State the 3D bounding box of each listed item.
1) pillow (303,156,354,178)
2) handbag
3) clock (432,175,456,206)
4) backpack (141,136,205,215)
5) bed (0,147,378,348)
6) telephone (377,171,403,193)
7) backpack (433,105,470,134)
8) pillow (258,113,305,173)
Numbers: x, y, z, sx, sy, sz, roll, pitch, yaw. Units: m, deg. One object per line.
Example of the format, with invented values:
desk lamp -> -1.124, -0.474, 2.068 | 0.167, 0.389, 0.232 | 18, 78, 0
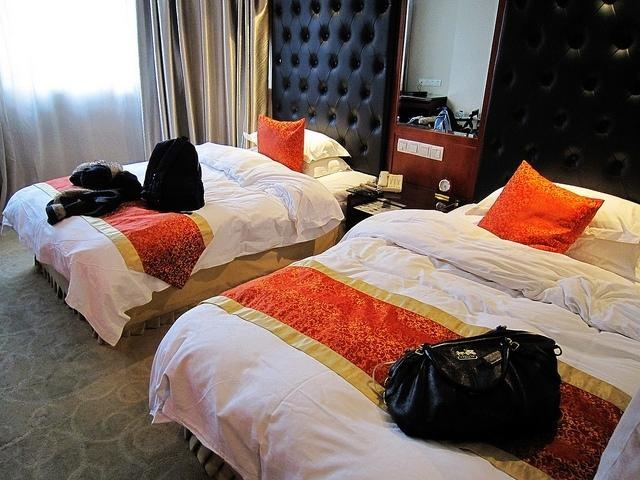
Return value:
pillow -> 0.064, -0.607, 3.652 | 0.264, 0.083, 0.189 | -15, 32, -24
handbag -> 0.542, 0.510, 1.496 | 0.585, 0.357, 0.322 | -2, 21, 8
clock -> 0.914, -0.361, 3.213 | 0.132, 0.296, 0.148 | -15, 24, -41
backpack -> -0.955, -0.427, 2.885 | 0.443, 0.406, 0.356 | 17, 31, 24
bed -> -0.771, -0.120, 2.913 | 1.636, 0.534, 1.484 | -21, 36, -35
telephone -> 0.540, -0.439, 3.372 | 0.157, 0.170, 0.103 | 4, 7, 11
backpack -> 0.924, -0.847, 3.098 | 0.209, 0.218, 0.157 | -1, 23, 6
pillow -> -0.308, -0.764, 3.569 | 0.535, 0.377, 0.164 | 27, 27, 37
